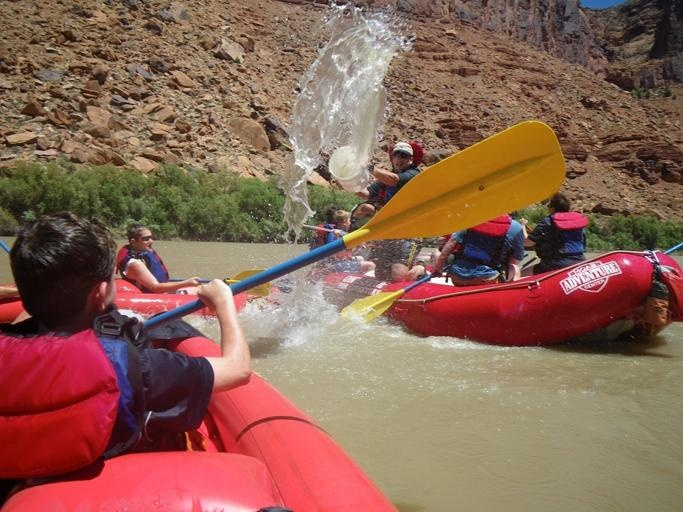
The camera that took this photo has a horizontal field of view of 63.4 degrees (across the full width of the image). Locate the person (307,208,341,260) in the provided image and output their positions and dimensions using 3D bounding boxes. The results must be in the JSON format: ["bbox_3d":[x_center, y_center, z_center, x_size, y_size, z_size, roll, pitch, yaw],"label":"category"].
[{"bbox_3d":[-0.215,-0.326,6.900,0.378,0.723,0.611,19,7,-8],"label":"person"}]

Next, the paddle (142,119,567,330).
[{"bbox_3d":[0.009,-0.090,4.412,0.605,0.128,4.127,36,-35,-25],"label":"paddle"}]

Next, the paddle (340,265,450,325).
[{"bbox_3d":[0.582,0.362,5.362,1.413,0.264,0.065,-20,-19,-28],"label":"paddle"}]

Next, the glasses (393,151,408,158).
[{"bbox_3d":[0.628,-1.066,5.767,0.088,0.029,0.113,5,-4,19],"label":"glasses"}]

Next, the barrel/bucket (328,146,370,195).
[{"bbox_3d":[0.010,-0.913,5.589,0.457,0.397,0.383,-10,-14,21],"label":"barrel/bucket"}]

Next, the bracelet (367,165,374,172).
[{"bbox_3d":[0.303,-0.884,5.524,0.085,0.023,0.083,-4,31,9],"label":"bracelet"}]

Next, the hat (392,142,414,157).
[{"bbox_3d":[0.656,-1.129,5.857,0.192,0.096,0.234,6,-7,15],"label":"hat"}]
